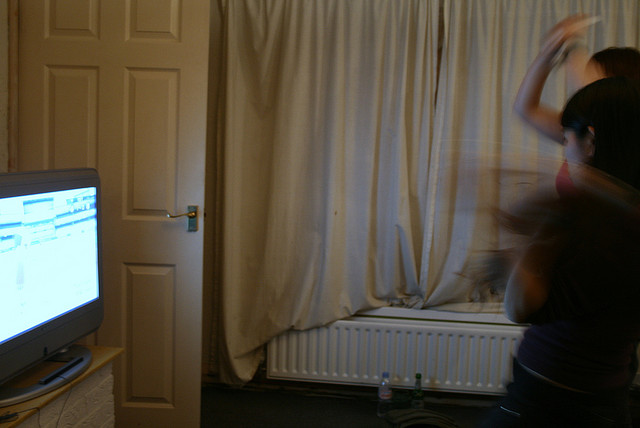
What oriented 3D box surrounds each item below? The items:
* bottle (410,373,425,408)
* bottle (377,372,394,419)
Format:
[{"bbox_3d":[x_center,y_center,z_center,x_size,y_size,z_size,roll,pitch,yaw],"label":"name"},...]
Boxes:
[{"bbox_3d":[0.495,0.875,2.926,0.072,0.182,0.072,0,9,0],"label":"bottle"},{"bbox_3d":[0.334,0.893,2.923,0.083,0.209,0.145,1,9,6],"label":"bottle"}]
